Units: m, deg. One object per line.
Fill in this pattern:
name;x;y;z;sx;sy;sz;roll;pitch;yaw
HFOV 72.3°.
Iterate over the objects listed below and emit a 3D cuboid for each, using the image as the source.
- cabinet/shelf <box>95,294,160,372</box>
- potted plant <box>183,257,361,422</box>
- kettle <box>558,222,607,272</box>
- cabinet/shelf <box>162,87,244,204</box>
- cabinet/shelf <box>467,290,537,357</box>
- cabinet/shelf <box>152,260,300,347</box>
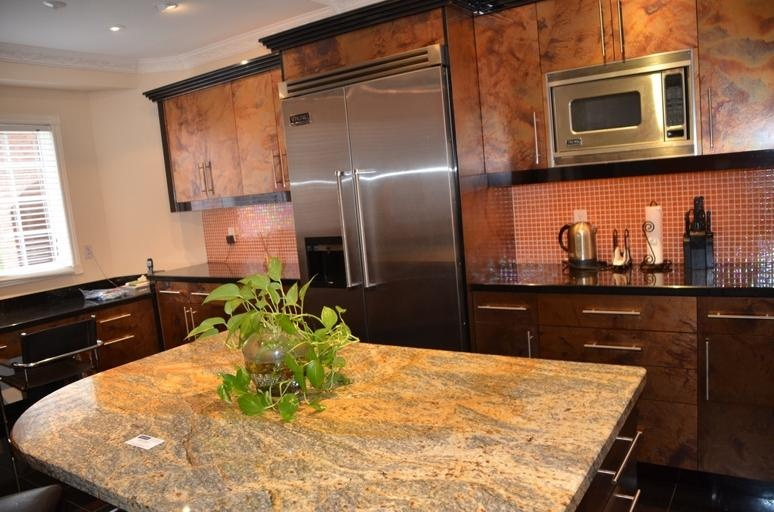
cabinet/shelf;-2.370;0.676;4.754;0.382;0.558;0.628;9;15;42
potted plant;-0.528;0.322;2.488;0.701;0.499;0.769;0;0;-16
kettle;1.375;-0.064;3.752;0.373;0.333;0.319;-1;8;37
cabinet/shelf;-1.758;-1.093;5.124;1.083;0.942;0.411;12;16;40
cabinet/shelf;0.812;0.437;3.718;0.455;0.608;0.431;-1;-1;36
cabinet/shelf;-1.157;0.330;3.642;0.915;0.780;0.485;-4;-2;27
